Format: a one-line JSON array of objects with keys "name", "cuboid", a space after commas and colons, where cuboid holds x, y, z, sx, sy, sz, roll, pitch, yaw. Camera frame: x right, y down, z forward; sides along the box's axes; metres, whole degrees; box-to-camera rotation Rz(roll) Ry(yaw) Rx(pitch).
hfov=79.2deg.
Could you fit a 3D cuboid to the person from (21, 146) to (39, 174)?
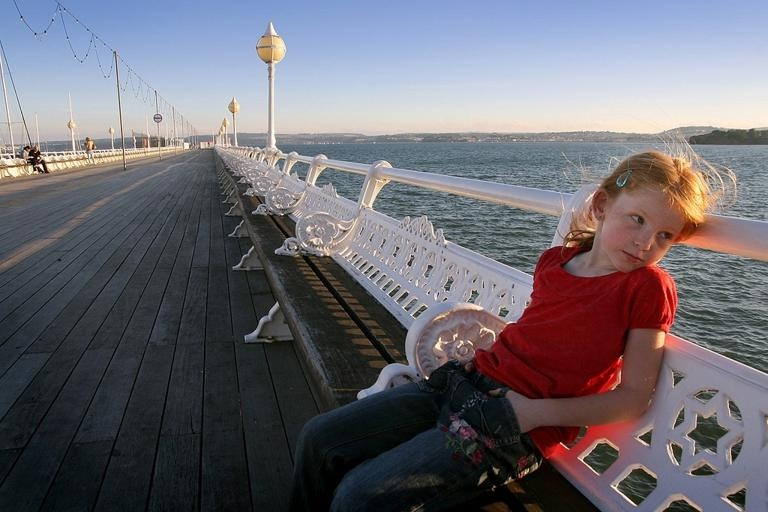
[{"name": "person", "cuboid": [-14.865, -4.129, 19.715, 0.516, 1.090, 1.714, -13, 26, -34]}]
